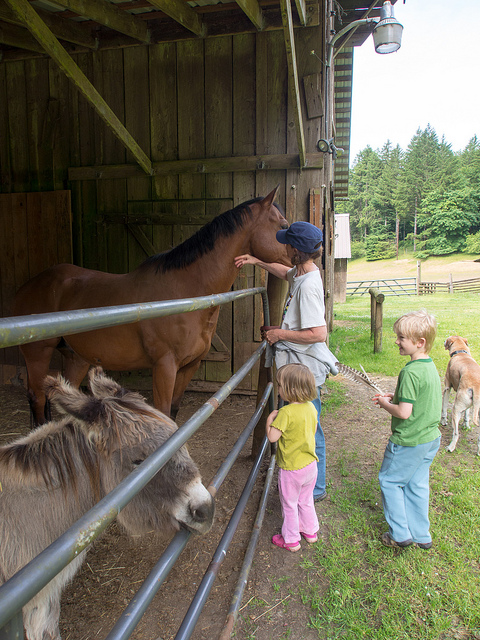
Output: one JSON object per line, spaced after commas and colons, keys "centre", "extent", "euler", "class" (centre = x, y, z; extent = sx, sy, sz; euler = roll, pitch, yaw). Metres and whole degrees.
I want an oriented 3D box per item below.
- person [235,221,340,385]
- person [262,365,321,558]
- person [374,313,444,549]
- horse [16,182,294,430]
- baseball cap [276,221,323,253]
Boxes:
{"centre": [0.313, -0.095, 2.851], "extent": [0.394, 0.822, 0.922], "euler": [-1, 8, 0], "class": "person"}
{"centre": [0.260, 0.633, 2.585], "extent": [0.256, 0.883, 0.414], "euler": [0, 8, 9], "class": "person"}
{"centre": [0.785, 0.526, 2.479], "extent": [0.295, 1.109, 0.251], "euler": [0, 8, 7], "class": "person"}
{"centre": [-0.625, 0.120, 3.526], "extent": [2.124, 1.745, 0.590], "euler": [1, 5, 13], "class": "horse"}
{"centre": [0.293, -0.398, 2.581], "extent": [0.199, 0.146, 0.137], "euler": [3, 8, 25], "class": "baseball cap"}
